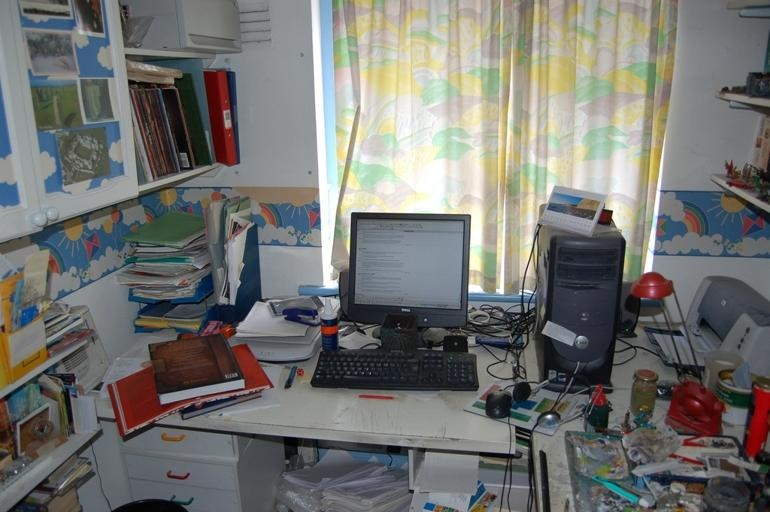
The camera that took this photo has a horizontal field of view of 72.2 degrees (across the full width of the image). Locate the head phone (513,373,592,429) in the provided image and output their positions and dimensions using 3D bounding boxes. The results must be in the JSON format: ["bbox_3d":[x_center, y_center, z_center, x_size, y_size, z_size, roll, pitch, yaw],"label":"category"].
[{"bbox_3d":[0.643,0.591,2.075,0.160,0.056,0.238,7,27,28],"label":"head phone"}]

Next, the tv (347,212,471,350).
[{"bbox_3d":[0.113,0.105,2.411,0.624,0.600,0.230,1,6,6],"label":"tv"}]

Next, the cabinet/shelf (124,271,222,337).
[{"bbox_3d":[-1.038,0.251,2.512,0.269,0.144,0.376,1,15,5],"label":"cabinet/shelf"}]

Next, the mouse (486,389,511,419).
[{"bbox_3d":[0.437,0.571,2.050,0.110,0.089,0.103,-6,19,-11],"label":"mouse"}]

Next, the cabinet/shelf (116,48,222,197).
[{"bbox_3d":[-0.977,-0.593,2.408,0.153,0.589,0.647,-4,11,7],"label":"cabinet/shelf"}]

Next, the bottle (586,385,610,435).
[{"bbox_3d":[0.814,0.566,2.011,0.084,0.145,0.162,7,20,25],"label":"bottle"}]

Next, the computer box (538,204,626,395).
[{"bbox_3d":[0.790,0.202,2.190,0.314,0.621,0.345,3,20,16],"label":"computer box"}]

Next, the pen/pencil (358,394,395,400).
[{"bbox_3d":[-0.035,0.576,2.145,0.097,0.016,0.008,3,-18,2],"label":"pen/pencil"}]

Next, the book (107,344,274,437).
[{"bbox_3d":[-0.802,0.535,2.198,0.626,0.126,0.372,-9,20,-22],"label":"book"}]

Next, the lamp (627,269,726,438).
[{"bbox_3d":[1.174,0.313,2.153,0.362,0.527,0.695,6,20,24],"label":"lamp"}]
